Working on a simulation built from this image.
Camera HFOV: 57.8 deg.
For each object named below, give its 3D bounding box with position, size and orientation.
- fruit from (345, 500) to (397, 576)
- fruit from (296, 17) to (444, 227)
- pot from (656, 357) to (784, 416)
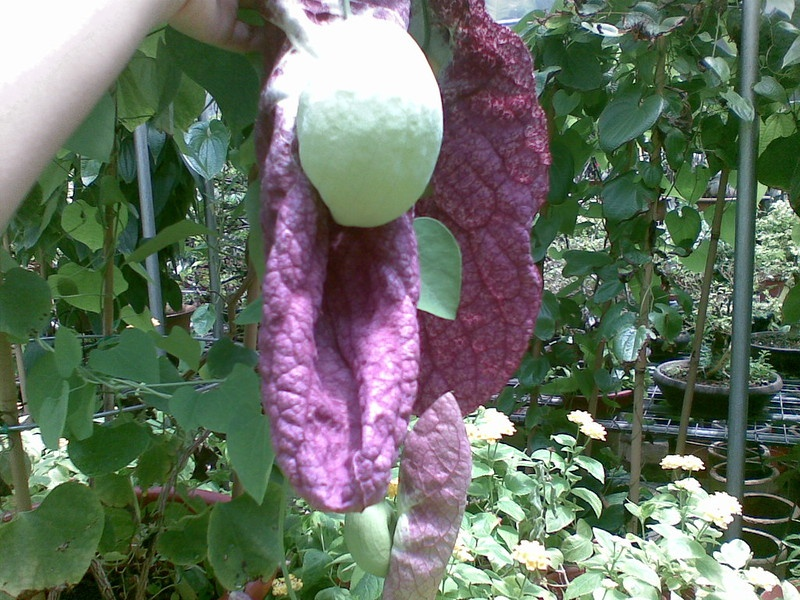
[{"bbox_3d":[-0.023,0.229,0.692,0.068,0.038,0.053,-34,-28,-13],"label":"fruit"},{"bbox_3d":[-0.026,-0.133,0.577,0.125,0.131,0.171,6,27,12],"label":"fruit"},{"bbox_3d":[0.839,0.257,2.026,0.203,0.076,0.206,6,4,0],"label":"pot"}]
